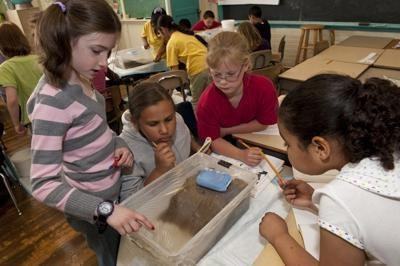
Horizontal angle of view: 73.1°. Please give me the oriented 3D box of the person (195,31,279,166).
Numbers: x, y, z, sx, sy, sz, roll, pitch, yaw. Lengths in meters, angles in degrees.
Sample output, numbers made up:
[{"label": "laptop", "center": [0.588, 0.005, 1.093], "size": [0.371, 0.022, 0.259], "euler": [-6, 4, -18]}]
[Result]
[{"label": "person", "center": [0.225, -0.214, 1.873], "size": [0.605, 0.834, 0.616], "euler": [-13, 40, 1]}]

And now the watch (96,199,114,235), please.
[{"label": "watch", "center": [-0.424, 0.374, 1.216], "size": [0.094, 0.122, 0.086], "euler": [-18, 33, -22]}]
